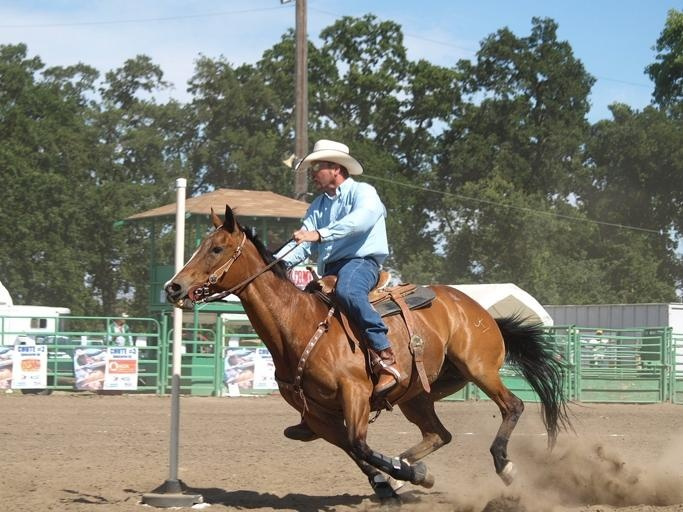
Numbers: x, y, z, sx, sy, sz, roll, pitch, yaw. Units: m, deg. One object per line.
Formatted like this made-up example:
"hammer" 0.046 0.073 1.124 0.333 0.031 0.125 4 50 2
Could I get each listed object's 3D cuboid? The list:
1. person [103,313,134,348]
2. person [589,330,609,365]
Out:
"person" -7.304 2.534 41.294 0.874 1.134 0.780 -1 -4 -9
"person" 8.832 3.132 42.703 0.626 1.193 2.428 -3 -4 11
